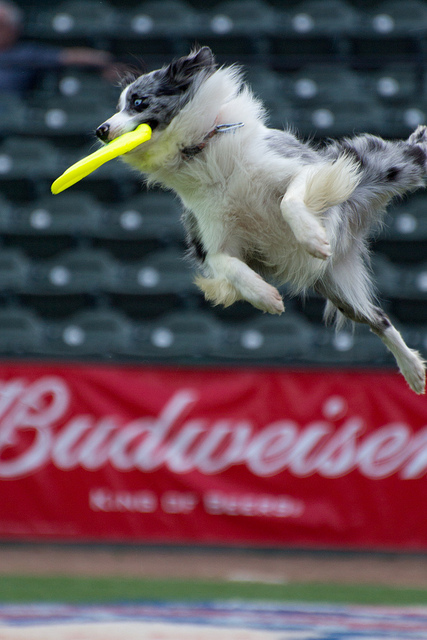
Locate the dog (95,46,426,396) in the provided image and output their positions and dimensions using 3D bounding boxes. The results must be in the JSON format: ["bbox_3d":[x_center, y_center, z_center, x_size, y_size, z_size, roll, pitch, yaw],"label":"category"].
[{"bbox_3d":[0.343,-0.333,3.053,1.446,0.780,0.739,17,41,-27],"label":"dog"}]

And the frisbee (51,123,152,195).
[{"bbox_3d":[-0.385,-0.531,2.835,0.312,0.044,0.200,-26,-8,16],"label":"frisbee"}]
